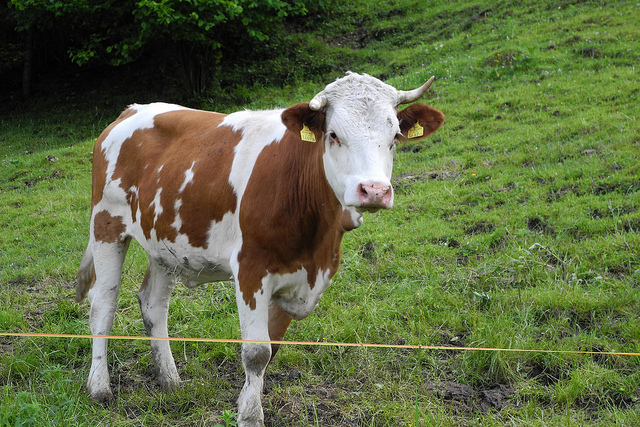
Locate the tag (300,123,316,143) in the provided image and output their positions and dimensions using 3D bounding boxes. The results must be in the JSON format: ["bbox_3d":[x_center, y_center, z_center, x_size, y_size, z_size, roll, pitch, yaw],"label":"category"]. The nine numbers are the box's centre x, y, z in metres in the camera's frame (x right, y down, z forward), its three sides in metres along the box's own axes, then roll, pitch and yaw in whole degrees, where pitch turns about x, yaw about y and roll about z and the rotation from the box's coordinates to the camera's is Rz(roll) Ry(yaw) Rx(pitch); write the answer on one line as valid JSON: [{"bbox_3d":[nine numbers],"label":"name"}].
[{"bbox_3d":[-0.172,-1.200,10.390,0.242,0.330,0.014,1,-19,-26],"label":"tag"}]

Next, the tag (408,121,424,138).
[{"bbox_3d":[1.470,-1.271,10.715,0.223,0.308,0.021,0,-17,15],"label":"tag"}]
